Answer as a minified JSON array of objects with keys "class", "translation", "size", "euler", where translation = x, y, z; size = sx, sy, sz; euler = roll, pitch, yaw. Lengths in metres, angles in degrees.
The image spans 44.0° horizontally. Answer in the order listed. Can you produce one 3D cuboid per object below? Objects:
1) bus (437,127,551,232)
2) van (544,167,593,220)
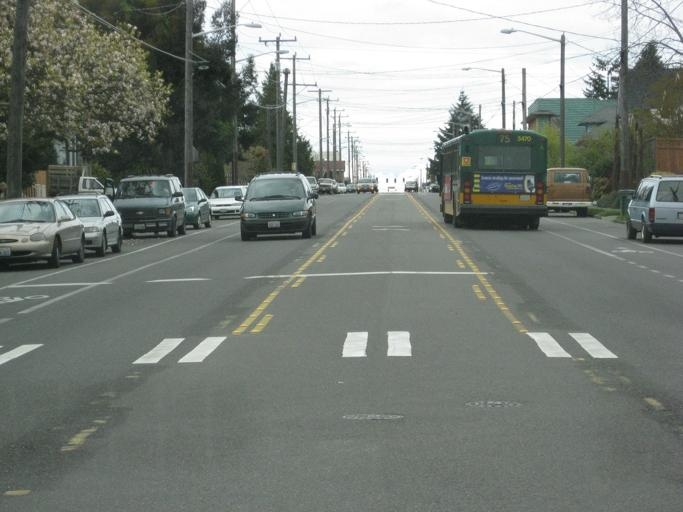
[{"class":"bus","translation":[6.229,-3.132,36.334],"size":[3.297,3.701,7.359],"euler":[1,3,2]},{"class":"van","translation":[12.559,-3.459,46.891],"size":[1.930,2.953,5.253],"euler":[0,2,6]}]
